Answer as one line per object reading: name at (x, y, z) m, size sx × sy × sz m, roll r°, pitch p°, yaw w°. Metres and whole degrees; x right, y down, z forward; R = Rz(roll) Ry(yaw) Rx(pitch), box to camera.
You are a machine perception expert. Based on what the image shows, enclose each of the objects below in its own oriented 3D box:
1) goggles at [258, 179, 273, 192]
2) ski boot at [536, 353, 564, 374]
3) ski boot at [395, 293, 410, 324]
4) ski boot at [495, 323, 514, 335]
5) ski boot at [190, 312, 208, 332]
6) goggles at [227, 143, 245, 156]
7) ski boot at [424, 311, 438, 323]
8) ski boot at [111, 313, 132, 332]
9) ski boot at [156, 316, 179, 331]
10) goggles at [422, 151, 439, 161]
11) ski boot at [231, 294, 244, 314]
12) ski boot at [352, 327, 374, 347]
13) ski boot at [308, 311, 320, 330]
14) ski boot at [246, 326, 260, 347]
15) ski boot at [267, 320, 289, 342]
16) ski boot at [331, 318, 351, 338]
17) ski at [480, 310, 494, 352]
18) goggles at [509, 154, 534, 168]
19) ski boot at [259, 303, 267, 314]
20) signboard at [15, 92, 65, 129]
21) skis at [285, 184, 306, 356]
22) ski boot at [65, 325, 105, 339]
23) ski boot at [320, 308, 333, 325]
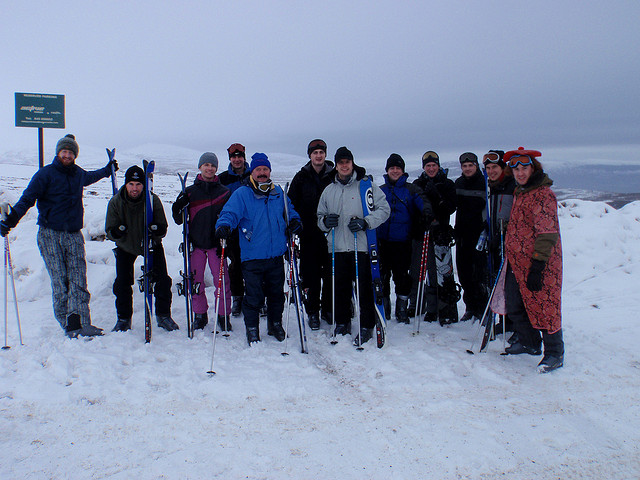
goggles at (-0.823, -0.833, 8.847) m, size 0.277 × 0.178 × 0.137 m, roll -9°, pitch 9°, yaw -38°
ski boot at (3.299, 1.758, 8.116) m, size 0.446 × 0.233 × 0.127 m, roll -5°, pitch 7°, yaw -13°
ski boot at (1.402, 1.177, 9.866) m, size 0.330 × 0.495 × 0.253 m, roll 1°, pitch 8°, yaw 30°
ski boot at (2.979, 1.380, 9.078) m, size 0.279 × 0.222 × 0.072 m, roll -2°, pitch 1°, yaw -14°
ski boot at (-1.973, 1.343, 9.281) m, size 0.204 × 0.296 × 0.654 m, roll -1°, pitch -8°, yaw 2°
goggles at (-1.443, -1.556, 9.800) m, size 0.249 × 0.165 × 0.192 m, roll -5°, pitch 7°, yaw -10°
ski boot at (1.924, 1.341, 9.869) m, size 0.190 × 0.218 × 0.124 m, roll 0°, pitch 5°, yaw 16°
ski boot at (-3.121, 1.301, 9.039) m, size 0.228 × 0.248 × 0.381 m, roll 4°, pitch 10°, yaw 45°
ski boot at (-2.463, 1.350, 9.185) m, size 0.431 × 0.205 × 0.152 m, roll 13°, pitch 20°, yaw 25°
goggles at (1.874, -1.427, 9.743) m, size 0.258 × 0.126 × 0.098 m, roll 3°, pitch 9°, yaw 41°
ski boot at (-1.456, 1.136, 10.040) m, size 0.224 × 0.315 × 0.240 m, roll -4°, pitch 7°, yaw -9°
ski boot at (0.678, 1.513, 8.936) m, size 0.145 × 0.193 × 0.427 m, roll -3°, pitch 0°, yaw 29°
ski boot at (-0.108, 1.357, 9.559) m, size 0.228 × 0.281 × 0.655 m, roll 0°, pitch 4°, yaw -5°
ski boot at (-1.040, 1.479, 8.818) m, size 0.200 × 0.274 × 0.257 m, roll -4°, pitch 7°, yaw -8°
ski boot at (-0.690, 1.444, 9.031) m, size 0.422 × 0.324 × 0.147 m, roll 7°, pitch 6°, yaw 37°
ski boot at (0.369, 1.439, 9.172) m, size 0.190 × 0.208 × 0.355 m, roll 2°, pitch 2°, yaw 13°
ski at (2.531, 1.435, 8.638) m, size 0.104 × 1.032 × 0.108 m, roll 8°, pitch -12°, yaw 11°
goggles at (2.892, -1.135, 8.178) m, size 0.330 × 0.171 × 0.124 m, roll -1°, pitch 7°, yaw 22°
ski boot at (-0.978, 1.232, 10.111) m, size 0.101 × 0.161 × 0.052 m, roll 4°, pitch 4°, yaw 24°
signboard at (-6.772, -3.134, 13.782) m, size 1.095 × 0.878 × 0.588 m, roll -7°, pitch 8°, yaw -26°
skis at (-0.390, 0.419, 9.131) m, size 0.184 × 2.672 × 0.279 m, roll -3°, pitch -9°, yaw -31°
ski boot at (-3.587, 1.416, 8.755) m, size 0.528 × 0.272 × 0.216 m, roll -4°, pitch 2°, yaw -12°
ski boot at (0.114, 1.332, 9.805) m, size 0.117 × 0.356 × 0.143 m, roll -31°, pitch -32°, yaw -10°
